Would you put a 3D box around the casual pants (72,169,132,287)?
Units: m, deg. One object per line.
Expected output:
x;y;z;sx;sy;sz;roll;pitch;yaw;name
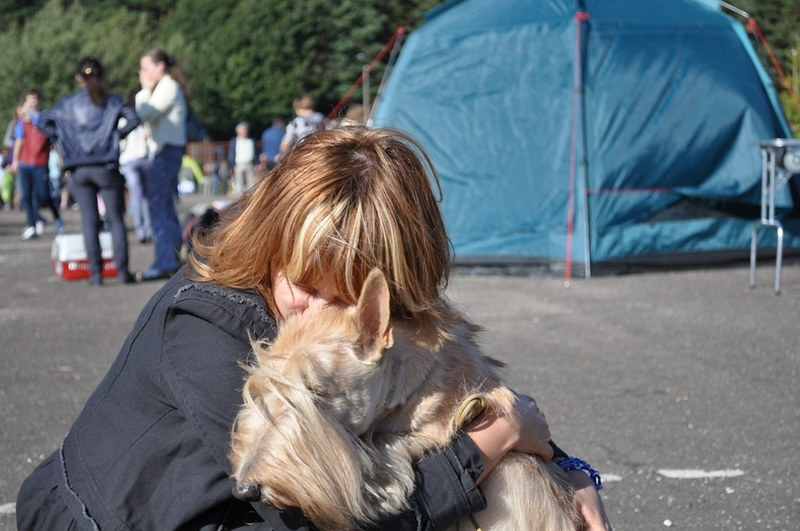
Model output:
-3.267;-0.492;11.618;0.514;0.496;1.842;-6;53;-16;casual pants

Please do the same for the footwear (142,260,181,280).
-2.584;0.050;11.592;0.558;0.297;0.208;1;0;-20;footwear

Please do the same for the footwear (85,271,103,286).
-3.331;0.141;11.593;0.084;0.157;0.149;-1;-10;11;footwear
